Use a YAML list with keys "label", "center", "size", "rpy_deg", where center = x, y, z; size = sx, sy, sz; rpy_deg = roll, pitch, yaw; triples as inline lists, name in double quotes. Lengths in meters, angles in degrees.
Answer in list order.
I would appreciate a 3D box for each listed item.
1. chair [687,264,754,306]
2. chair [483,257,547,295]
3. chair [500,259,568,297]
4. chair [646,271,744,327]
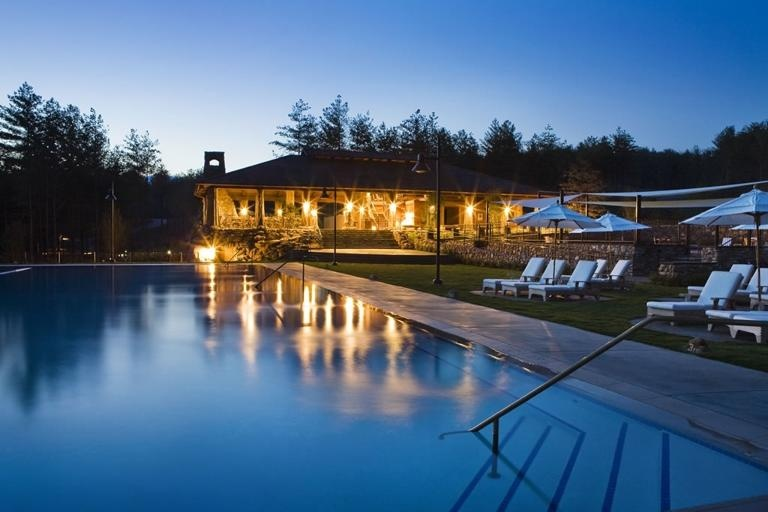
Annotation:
- label: "chair"
  center: [10.188, 0.781, 17.364]
  size: [2.597, 1.418, 1.392]
  rpy_deg: [0, -1, -22]
- label: "chair"
  center: [4.880, 0.715, 20.895]
  size: [2.536, 1.436, 1.369]
  rpy_deg: [2, -3, -20]
- label: "chair"
  center: [5.240, 0.800, 20.301]
  size: [2.131, 1.144, 1.428]
  rpy_deg: [1, -3, -23]
- label: "chair"
  center: [7.952, 1.068, 14.849]
  size: [1.924, 1.105, 1.302]
  rpy_deg: [0, -1, -18]
